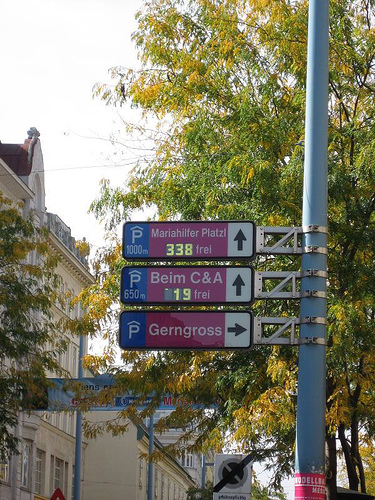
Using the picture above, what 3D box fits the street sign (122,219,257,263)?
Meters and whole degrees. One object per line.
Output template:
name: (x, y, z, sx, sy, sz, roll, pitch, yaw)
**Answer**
street sign: (0.016, -0.118, 16.476, 1.578, 0.623, 0.111, -6, -13, 6)
